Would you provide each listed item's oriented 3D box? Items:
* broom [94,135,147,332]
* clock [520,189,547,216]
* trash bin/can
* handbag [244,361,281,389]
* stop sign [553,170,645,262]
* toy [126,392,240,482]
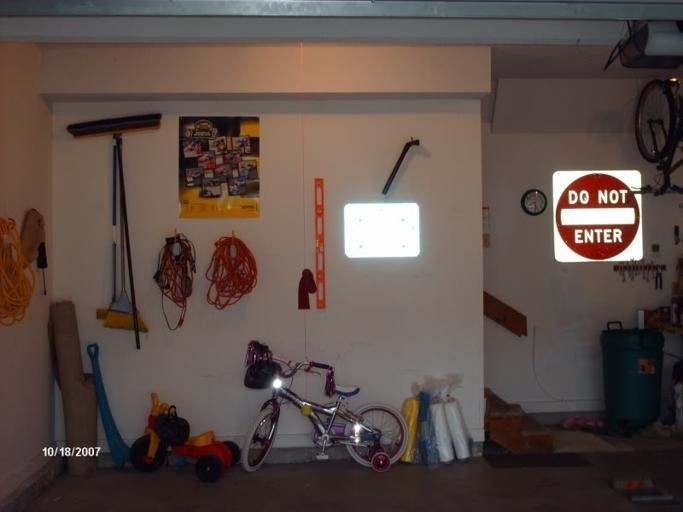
[{"bbox_3d":[-2.288,-0.175,6.554,0.449,1.882,0.617,-8,15,-30],"label":"broom"},{"bbox_3d":[2.299,-0.635,7.826,0.275,0.316,0.067,2,3,-9],"label":"clock"},{"bbox_3d":[3.375,1.434,7.884,0.882,1.467,0.920,-2,-3,28],"label":"trash bin/can"},{"bbox_3d":[-0.801,1.162,6.481,0.312,0.260,0.187,-8,-31,-10],"label":"handbag"},{"bbox_3d":[3.030,-0.448,7.872,0.952,1.096,0.043,-1,-1,-7],"label":"stop sign"},{"bbox_3d":[-1.571,1.809,6.638,1.023,0.787,0.570,6,-5,6],"label":"toy"}]
